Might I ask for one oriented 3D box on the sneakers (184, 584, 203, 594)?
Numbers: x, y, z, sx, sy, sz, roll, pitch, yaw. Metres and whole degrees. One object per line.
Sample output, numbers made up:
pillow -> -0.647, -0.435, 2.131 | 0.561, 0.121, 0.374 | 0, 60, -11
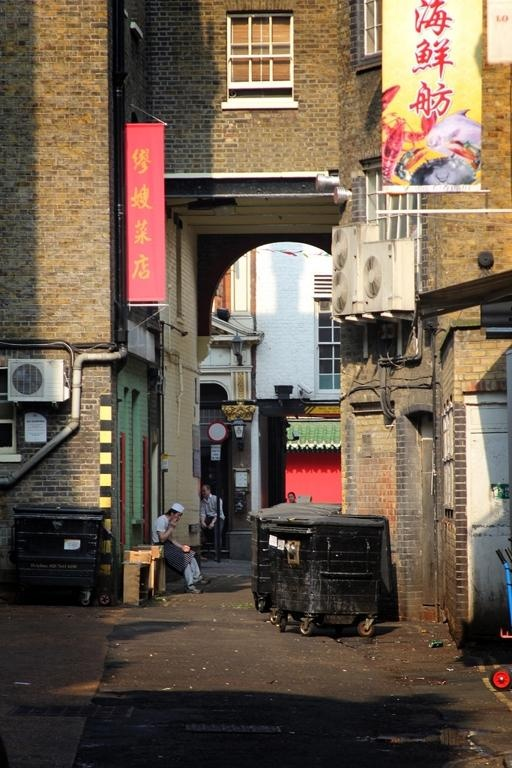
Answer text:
sneakers -> -0.845, 2.787, 21.130 | 0.230, 0.207, 0.117 | -3, -1, 8

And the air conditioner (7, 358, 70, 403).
air conditioner -> -2.600, -0.063, 18.377 | 0.714, 0.684, 0.440 | -1, -10, 0

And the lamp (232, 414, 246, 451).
lamp -> -0.384, 1.143, 35.557 | 0.266, 0.738, 0.492 | 0, -5, -3

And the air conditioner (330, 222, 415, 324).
air conditioner -> 1.472, -1.386, 19.099 | 0.411, 1.334, 1.234 | 2, -5, -21

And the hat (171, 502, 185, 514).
hat -> -1.049, 1.658, 20.784 | 0.194, 0.176, 0.162 | 2, 1, 0

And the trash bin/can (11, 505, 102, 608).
trash bin/can -> -2.278, 1.994, 18.172 | 0.803, 1.098, 1.103 | 0, -17, -3
